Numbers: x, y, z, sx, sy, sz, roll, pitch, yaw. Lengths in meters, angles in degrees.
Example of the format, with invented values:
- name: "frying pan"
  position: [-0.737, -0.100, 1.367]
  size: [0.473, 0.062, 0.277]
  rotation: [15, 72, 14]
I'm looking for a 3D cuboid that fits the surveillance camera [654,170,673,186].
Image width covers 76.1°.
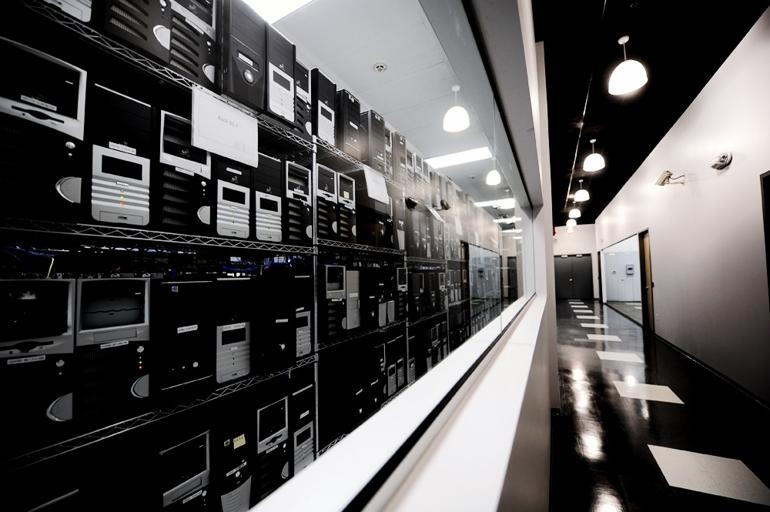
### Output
- name: "surveillance camera"
  position: [3.267, -0.907, 5.762]
  size: [0.058, 0.186, 0.180]
  rotation: [23, 6, -22]

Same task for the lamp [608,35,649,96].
- name: "lamp"
  position: [2.115, -1.658, 4.277]
  size: [0.255, 0.532, 1.053]
  rotation: [4, 13, 25]

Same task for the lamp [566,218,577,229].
- name: "lamp"
  position: [4.629, -0.842, 12.276]
  size: [0.260, 0.198, 0.257]
  rotation: [-9, 6, -33]

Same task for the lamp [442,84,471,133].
- name: "lamp"
  position: [0.407, -0.825, 2.825]
  size: [0.180, 0.264, 0.176]
  rotation: [3, 25, 11]

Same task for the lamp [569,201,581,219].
- name: "lamp"
  position: [4.027, -1.011, 10.462]
  size: [0.314, 0.356, 0.324]
  rotation: [-6, 8, -6]
